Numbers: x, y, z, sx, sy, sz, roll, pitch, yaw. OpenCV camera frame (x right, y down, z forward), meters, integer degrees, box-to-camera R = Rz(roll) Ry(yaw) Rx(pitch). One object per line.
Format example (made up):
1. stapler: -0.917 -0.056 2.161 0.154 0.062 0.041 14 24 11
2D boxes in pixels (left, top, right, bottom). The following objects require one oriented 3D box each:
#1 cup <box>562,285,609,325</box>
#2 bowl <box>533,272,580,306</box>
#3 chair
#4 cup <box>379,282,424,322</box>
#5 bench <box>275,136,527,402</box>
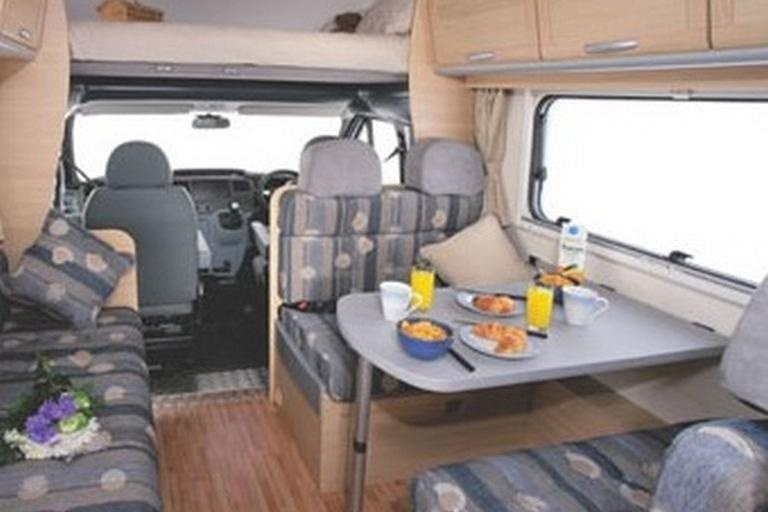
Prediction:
1. cup: 0.673 0.181 2.028 0.176 0.114 0.118 4 3 14
2. bowl: 0.663 0.103 2.149 0.149 0.077 0.151 2 7 0
3. chair: -1.342 -0.117 2.976 0.530 0.859 0.495 -8 5 -43
4. cup: 0.042 0.176 2.002 0.175 0.125 0.110 3 -12 -14
5. bench: -0.085 -0.064 3.006 1.027 1.376 1.157 0 8 -15
